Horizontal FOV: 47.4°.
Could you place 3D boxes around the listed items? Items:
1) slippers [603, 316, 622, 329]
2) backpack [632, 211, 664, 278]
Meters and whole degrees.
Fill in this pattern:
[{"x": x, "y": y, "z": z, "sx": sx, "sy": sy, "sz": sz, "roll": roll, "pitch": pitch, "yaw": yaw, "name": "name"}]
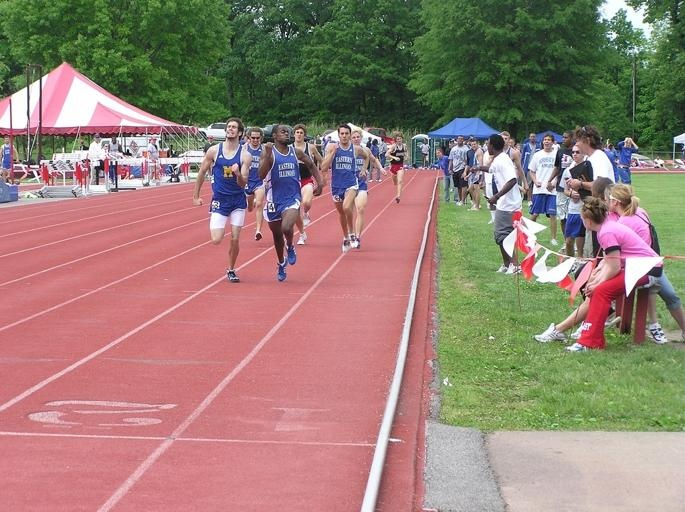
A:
[{"x": 3.044, "y": 0.747, "z": 8.832, "sx": 0.160, "sy": 0.165, "sz": 0.174, "roll": 4, "pitch": 8, "yaw": 18, "name": "slippers"}, {"x": 3.322, "y": -0.184, "z": 8.240, "sx": 0.386, "sy": 0.888, "sz": 0.420, "roll": 8, "pitch": 15, "yaw": 22, "name": "backpack"}]
